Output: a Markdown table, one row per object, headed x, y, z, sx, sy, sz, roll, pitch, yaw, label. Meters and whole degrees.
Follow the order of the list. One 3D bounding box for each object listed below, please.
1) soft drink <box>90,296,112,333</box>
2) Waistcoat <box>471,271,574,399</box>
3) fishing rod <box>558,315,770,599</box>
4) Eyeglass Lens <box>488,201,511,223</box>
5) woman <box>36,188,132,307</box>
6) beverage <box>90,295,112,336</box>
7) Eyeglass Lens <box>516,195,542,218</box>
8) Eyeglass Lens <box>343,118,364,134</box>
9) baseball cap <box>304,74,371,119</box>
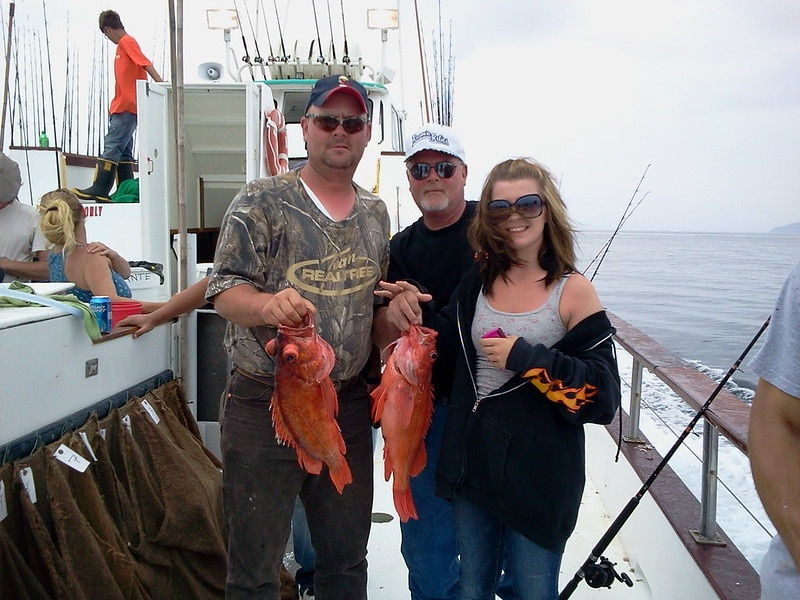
| x | y | z | sx | sy | sz | roll | pitch | yaw | label |
| --- | --- | --- | --- | --- | --- | --- | --- | --- | --- |
| -1.706 | 0.077 | 3.518 | 0.114 | 0.214 | 0.112 | 6 | 8 | 27 | soft drink |
| 0.572 | 0.158 | 2.942 | 0.458 | 0.671 | 0.330 | 10 | 10 | 31 | Waistcoat |
| 1.674 | 1.069 | 3.958 | 0.221 | 2.058 | 0.351 | 35 | -9 | 15 | fishing rod |
| 0.453 | -0.415 | 2.857 | 0.087 | 0.099 | 0.032 | 1 | 40 | 12 | Eyeglass Lens |
| -2.065 | -0.356 | 4.130 | 0.774 | 0.710 | 0.487 | 13 | 14 | 42 | woman |
| -1.703 | 0.082 | 3.517 | 0.111 | 0.211 | 0.113 | -2 | 1 | 1 | beverage |
| 0.591 | -0.430 | 2.830 | 0.101 | 0.050 | 0.107 | -3 | 9 | 11 | Eyeglass Lens |
| -0.217 | -0.813 | 2.879 | 0.073 | 0.035 | 0.078 | 0 | 10 | -11 | Eyeglass Lens |
| -0.308 | -0.979 | 3.004 | 0.284 | 0.176 | 0.393 | -2 | -3 | -18 | baseball cap |
